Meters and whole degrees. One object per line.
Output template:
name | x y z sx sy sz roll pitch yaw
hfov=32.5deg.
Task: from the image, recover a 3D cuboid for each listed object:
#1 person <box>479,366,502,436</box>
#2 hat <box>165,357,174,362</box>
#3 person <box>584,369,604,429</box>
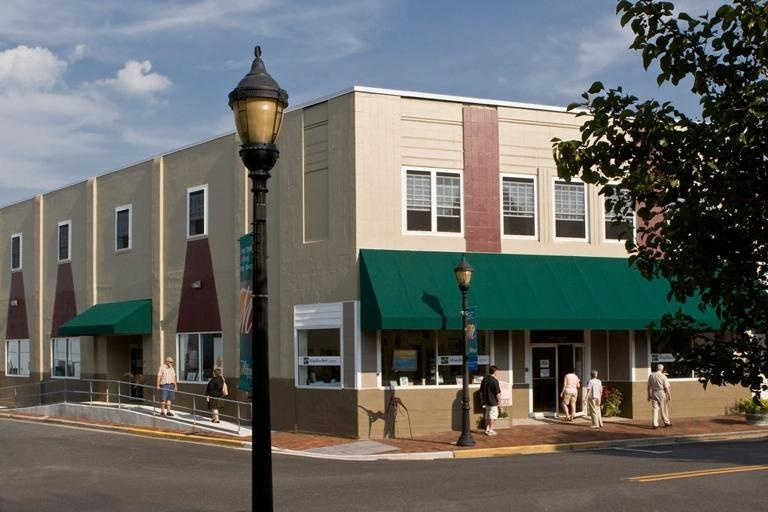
person | 3.516 4.718 43.848 0.651 2.298 1.168 -2 -12 4
hat | -7.871 3.714 48.356 0.272 0.131 0.364 4 -4 -31
person | 7.143 4.759 44.958 0.474 1.997 0.895 -3 -12 8
